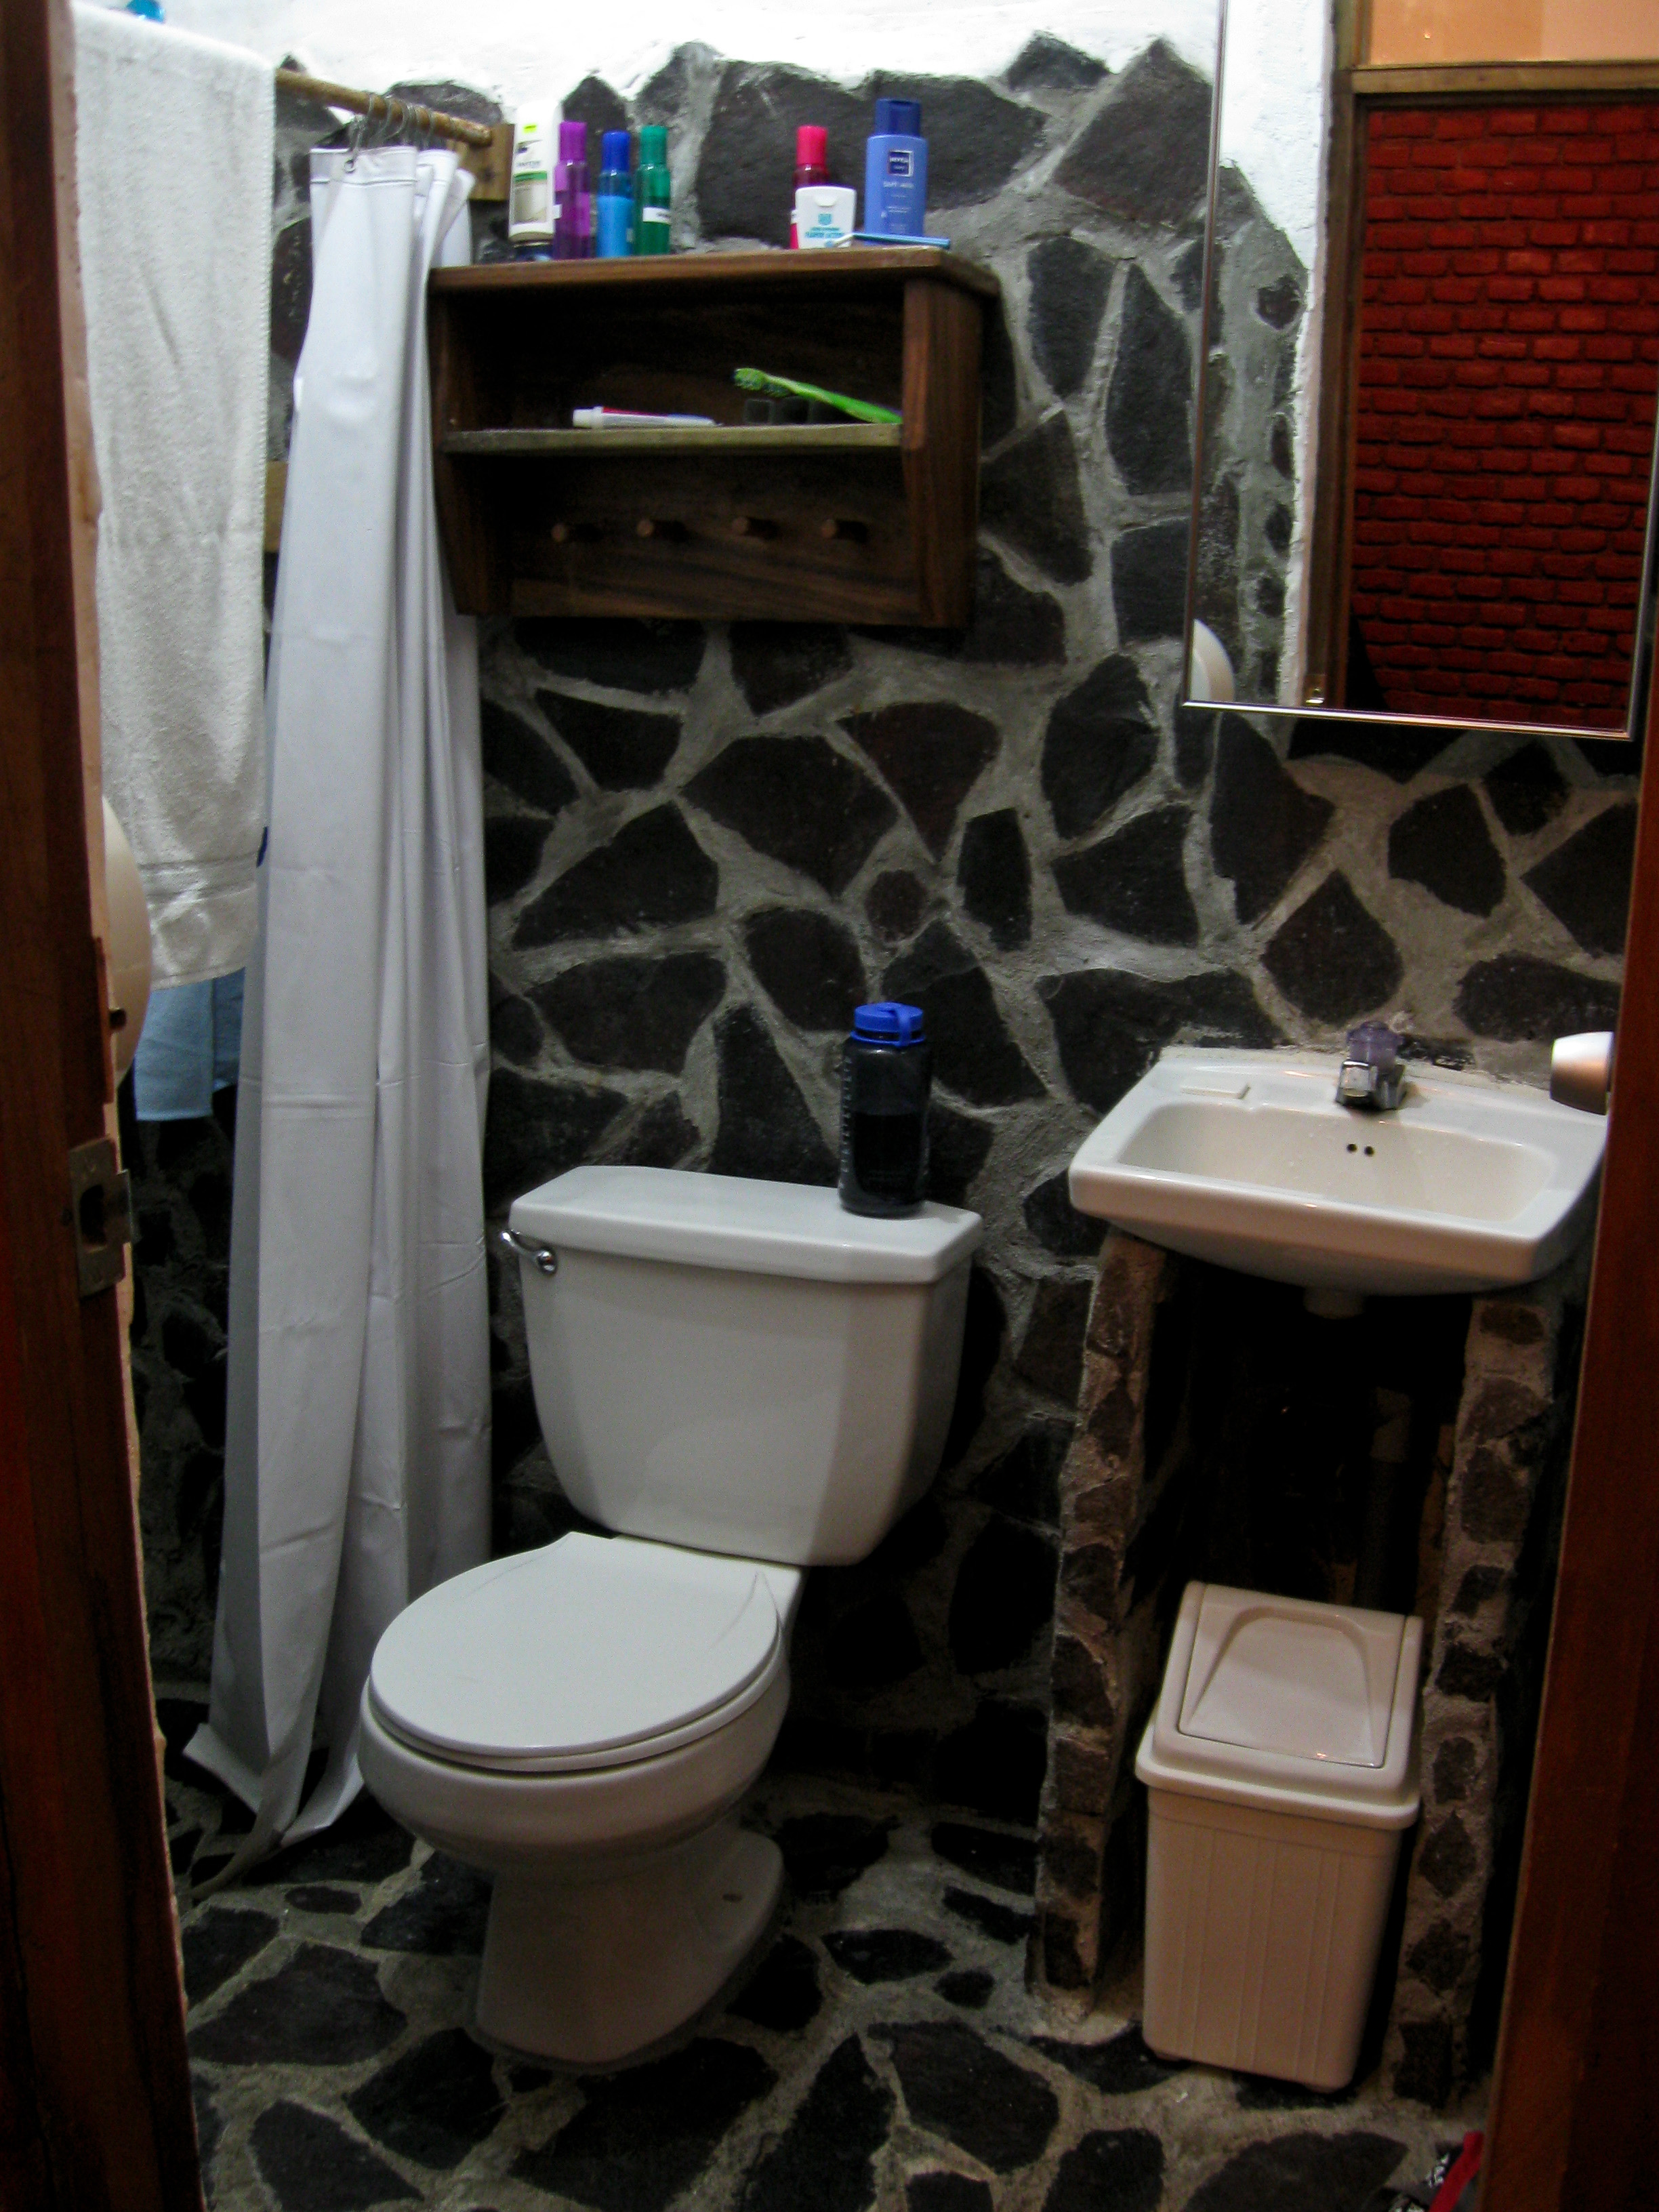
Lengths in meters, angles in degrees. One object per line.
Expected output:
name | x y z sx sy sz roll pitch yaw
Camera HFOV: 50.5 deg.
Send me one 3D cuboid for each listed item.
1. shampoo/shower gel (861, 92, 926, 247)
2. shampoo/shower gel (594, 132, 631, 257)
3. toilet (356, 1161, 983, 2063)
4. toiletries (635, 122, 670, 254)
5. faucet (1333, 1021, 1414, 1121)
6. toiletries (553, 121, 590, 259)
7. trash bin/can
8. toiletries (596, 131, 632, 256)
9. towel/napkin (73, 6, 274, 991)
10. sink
shampoo/shower gel | 0.069 -0.951 1.779 0.057 0.167 0.119 2 9 4
shampoo/shower gel | -0.226 -0.963 1.854 0.043 0.130 0.052 2 9 5
toilet | -0.155 0.510 1.808 0.511 0.748 0.723 4 10 15
toiletries | -0.187 -0.973 1.865 0.032 0.134 0.068 0 9 -9
faucet | 0.522 -0.038 1.716 0.070 0.084 0.086 7 19 28
toiletries | -0.272 -0.982 1.890 0.043 0.135 0.051 -4 11 -28
trash bin/can | 0.435 0.716 1.716 0.247 0.411 0.228 4 10 19
toiletries | -0.226 -0.963 1.854 0.043 0.130 0.052 2 9 5
towel/napkin | -0.633 -0.581 1.745 0.192 0.912 0.047 -6 12 -38
sink | 0.475 0.074 1.644 0.435 0.218 0.450 6 11 24
